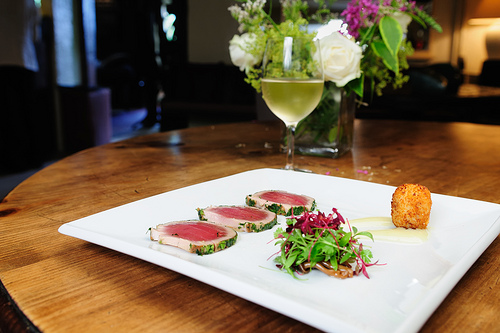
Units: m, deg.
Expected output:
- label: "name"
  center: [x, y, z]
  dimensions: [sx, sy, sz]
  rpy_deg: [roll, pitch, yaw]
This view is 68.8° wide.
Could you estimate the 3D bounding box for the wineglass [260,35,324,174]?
- label: "wineglass"
  center: [0.135, -0.205, 1.209]
  dimensions: [0.205, 0.421, 0.122]
  rpy_deg: [1, 21, 8]
